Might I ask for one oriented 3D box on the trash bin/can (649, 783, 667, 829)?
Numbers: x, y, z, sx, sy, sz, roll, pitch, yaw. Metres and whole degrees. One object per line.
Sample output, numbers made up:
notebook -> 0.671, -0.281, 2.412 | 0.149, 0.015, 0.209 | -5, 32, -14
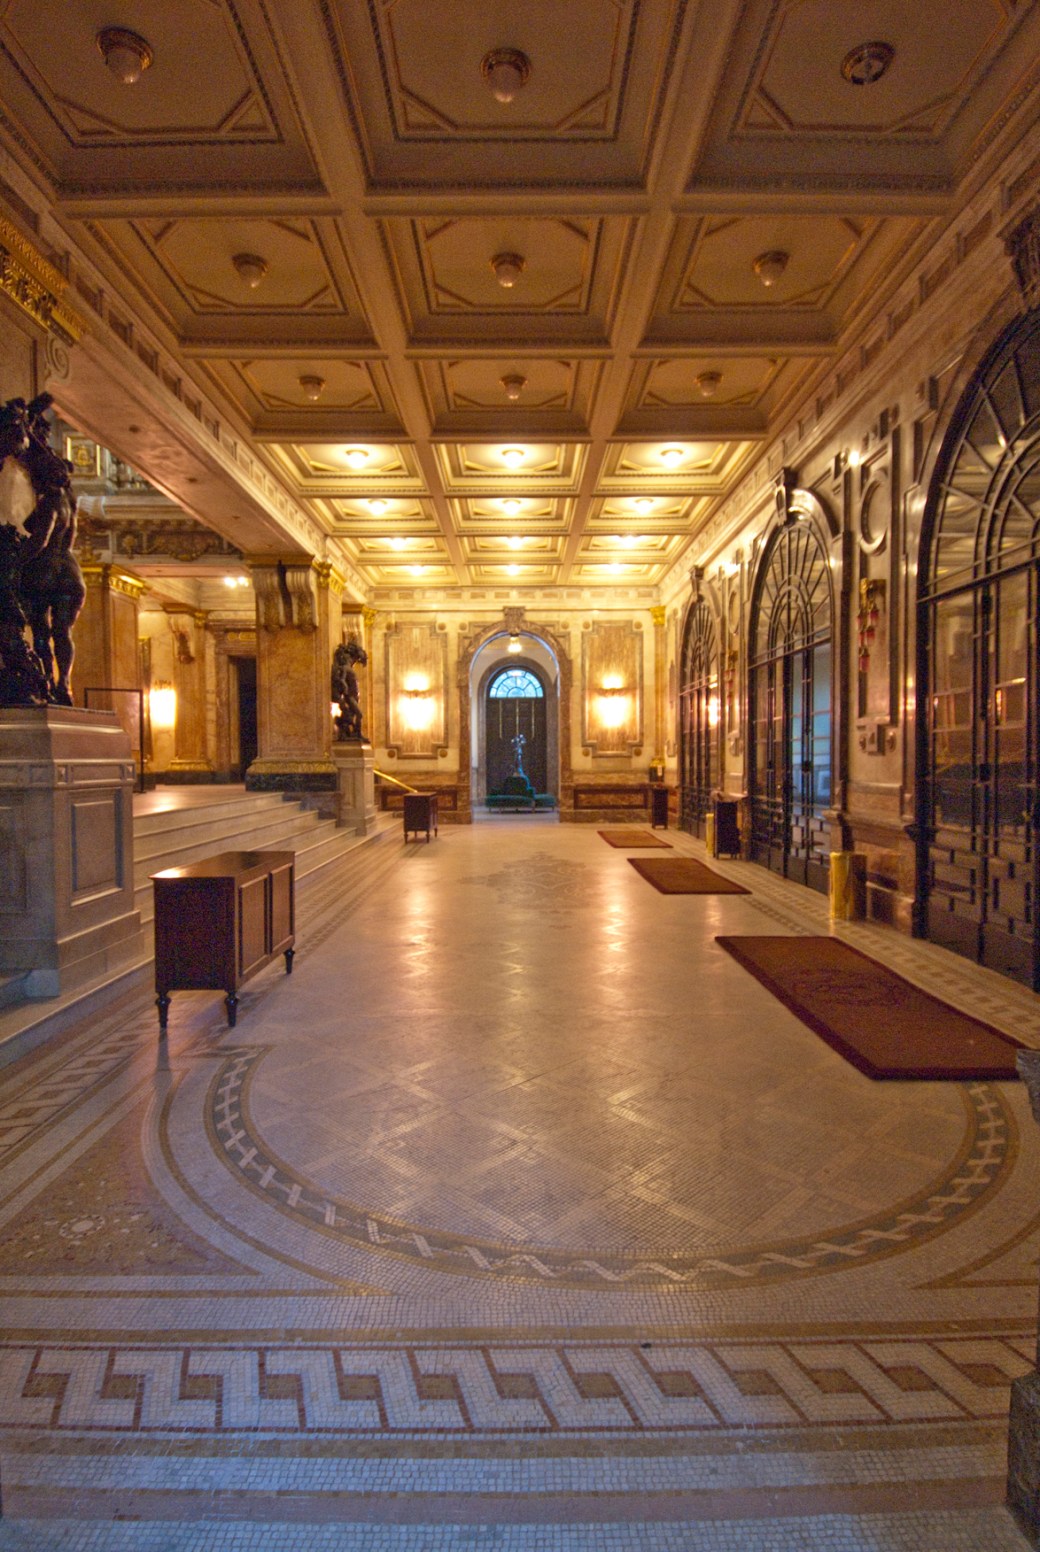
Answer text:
trash bin/can -> 2.149, 0.502, 16.148 | 0.297, 0.616, 0.254 | 2, 4, 32

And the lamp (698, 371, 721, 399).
lamp -> 1.529, -3.139, 8.416 | 0.131, 0.140, 0.130 | -1, -7, 11

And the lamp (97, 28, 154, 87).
lamp -> -1.752, -3.214, 4.681 | 0.226, 0.171, 0.190 | -2, 4, -23

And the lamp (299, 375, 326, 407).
lamp -> -1.652, -3.114, 8.435 | 0.215, 0.175, 0.187 | -3, -2, -45

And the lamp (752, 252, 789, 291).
lamp -> 1.572, -3.130, 6.523 | 0.153, 0.119, 0.153 | 0, -2, 2

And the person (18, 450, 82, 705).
person -> -2.363, -1.022, 5.346 | 0.224, 1.336, 0.422 | 0, 4, -2

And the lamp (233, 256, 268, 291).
lamp -> -1.679, -3.153, 6.554 | 0.157, 0.118, 0.155 | 3, -5, -43

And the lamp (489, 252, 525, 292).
lamp -> -0.061, -3.166, 6.579 | 0.174, 0.137, 0.173 | -1, -5, -2

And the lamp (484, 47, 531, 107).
lamp -> -0.048, -3.185, 4.794 | 0.216, 0.169, 0.222 | -2, -12, 0

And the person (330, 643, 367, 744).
person -> -2.106, -1.005, 12.944 | 0.372, 1.219, 0.700 | -1, 4, -12
